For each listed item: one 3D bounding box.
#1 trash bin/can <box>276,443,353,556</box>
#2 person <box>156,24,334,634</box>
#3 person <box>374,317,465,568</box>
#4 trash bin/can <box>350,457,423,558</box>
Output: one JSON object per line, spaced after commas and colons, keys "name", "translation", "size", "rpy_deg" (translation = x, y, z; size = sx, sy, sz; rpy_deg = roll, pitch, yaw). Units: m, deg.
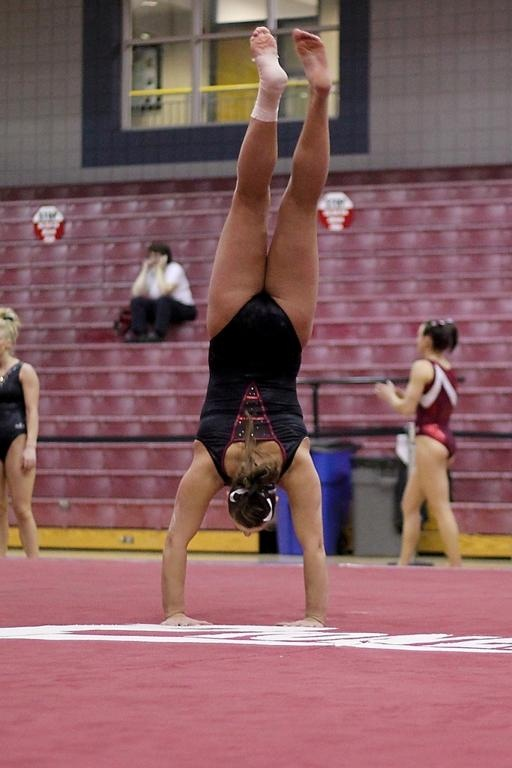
{"name": "trash bin/can", "translation": [0.389, 0.648, 7.746], "size": [0.498, 0.848, 0.535], "rpy_deg": [0, 0, 5]}
{"name": "person", "translation": [-0.023, -0.193, 3.853], "size": [0.496, 1.647, 0.462], "rpy_deg": [-1, 3, -2]}
{"name": "person", "translation": [0.755, 0.282, 6.517], "size": [0.370, 1.150, 1.012], "rpy_deg": [-1, 2, 8]}
{"name": "trash bin/can", "translation": [0.679, 0.731, 7.766], "size": [0.376, 0.517, 0.397], "rpy_deg": [-3, -11, 20]}
